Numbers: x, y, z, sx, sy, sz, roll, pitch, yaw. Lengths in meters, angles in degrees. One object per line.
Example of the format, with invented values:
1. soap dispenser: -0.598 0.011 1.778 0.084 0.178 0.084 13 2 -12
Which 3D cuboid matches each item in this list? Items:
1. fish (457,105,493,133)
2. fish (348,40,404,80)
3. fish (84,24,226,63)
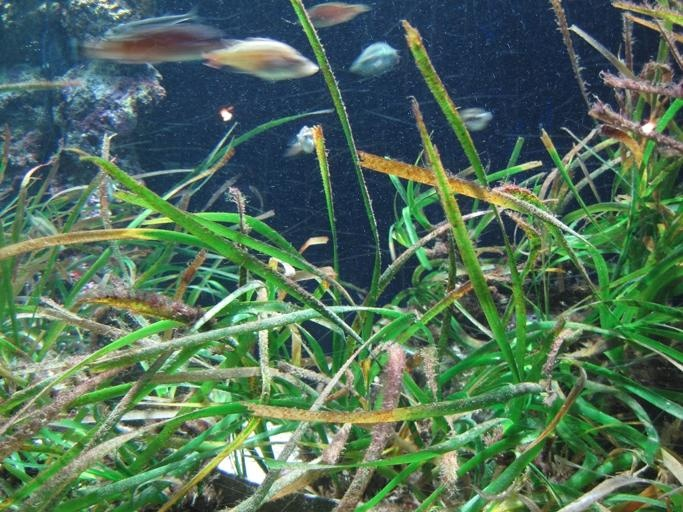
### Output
1. fish: 0.524 -0.535 3.073 0.115 0.063 0.137 -17 42 14
2. fish: 0.135 -0.778 3.284 0.277 0.142 0.084 -20 8 -17
3. fish: -0.621 -0.731 2.757 0.616 0.100 0.225 -10 30 -22
